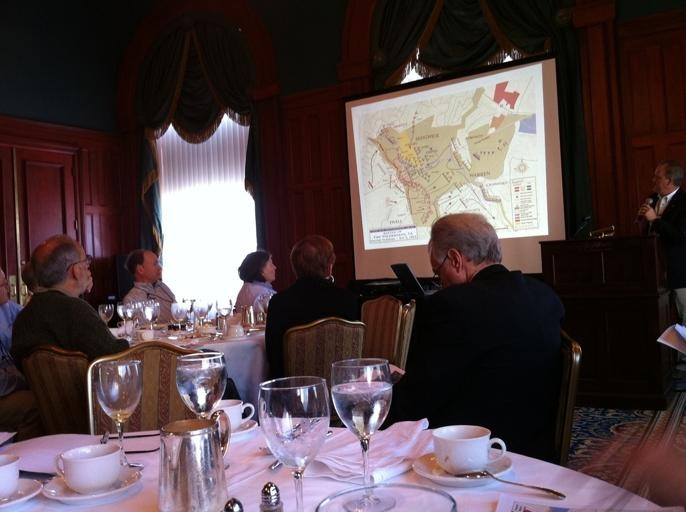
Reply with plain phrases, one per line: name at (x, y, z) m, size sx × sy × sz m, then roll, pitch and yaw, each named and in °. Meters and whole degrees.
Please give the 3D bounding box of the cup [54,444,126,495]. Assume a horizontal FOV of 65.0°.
cup at (-0.529, 0.436, 1.139) m, size 0.080 × 0.066 × 0.109 m, roll -2°, pitch -7°, yaw -11°

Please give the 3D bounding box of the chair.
chair at (0.051, 0.522, 3.210) m, size 0.604 × 1.279 × 0.684 m, roll 0°, pitch -2°, yaw -18°

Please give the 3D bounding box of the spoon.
spoon at (0.335, 0.461, 1.082) m, size 0.136 × 0.018 × 0.026 m, roll 6°, pitch 3°, yaw 34°

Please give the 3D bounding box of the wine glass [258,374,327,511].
wine glass at (-0.091, 0.360, 1.045) m, size 0.132 × 0.241 × 0.194 m, roll -5°, pitch 0°, yaw -10°

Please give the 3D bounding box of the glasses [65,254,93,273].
glasses at (-1.328, 0.045, 2.683) m, size 0.122 × 0.045 × 0.136 m, roll -7°, pitch 5°, yaw -3°

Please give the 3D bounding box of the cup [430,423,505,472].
cup at (0.268, 0.399, 1.148) m, size 0.099 × 0.064 × 0.086 m, roll 0°, pitch -3°, yaw 11°
